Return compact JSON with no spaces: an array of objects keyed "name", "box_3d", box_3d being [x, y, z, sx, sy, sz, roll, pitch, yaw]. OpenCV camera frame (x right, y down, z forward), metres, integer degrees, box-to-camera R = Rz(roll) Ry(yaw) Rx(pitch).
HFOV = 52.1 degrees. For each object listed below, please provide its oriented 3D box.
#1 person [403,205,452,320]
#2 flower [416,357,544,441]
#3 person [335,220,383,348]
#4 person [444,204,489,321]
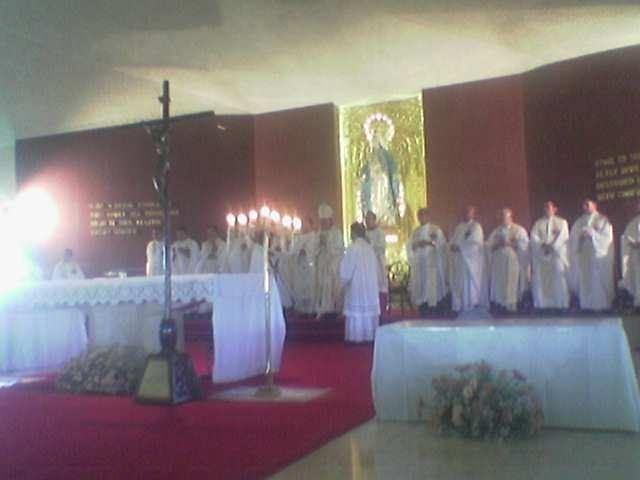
[{"name":"person","box_3d":[1.628,0.200,10.150,0.510,1.491,0.380,9,39,23]},{"name":"flower","box_3d":[1.327,1.348,5.344,0.777,0.429,0.561,0,2,-37]},{"name":"person","box_3d":[0.526,0.578,8.842,0.501,1.583,0.464,-2,-3,2]},{"name":"person","box_3d":[2.237,0.326,9.996,0.561,1.594,0.530,-2,-3,12]}]
